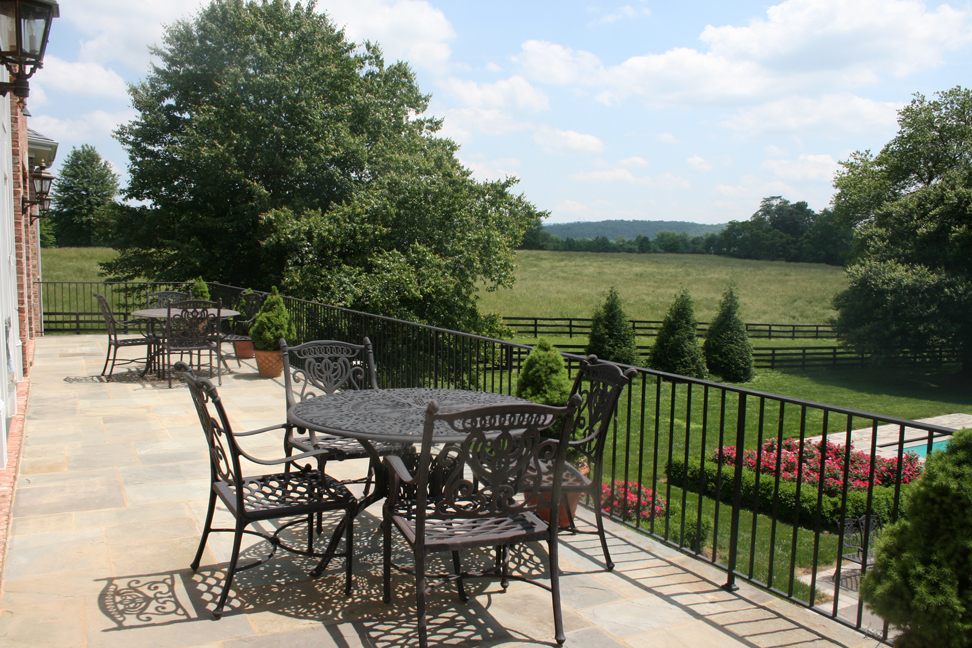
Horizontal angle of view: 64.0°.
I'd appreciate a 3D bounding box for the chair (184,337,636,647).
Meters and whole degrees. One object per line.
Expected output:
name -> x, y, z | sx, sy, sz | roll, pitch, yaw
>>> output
chair -> -0.536, 1.335, 6.635 | 3.184, 2.155, 1.775 | 5, 5, 16
